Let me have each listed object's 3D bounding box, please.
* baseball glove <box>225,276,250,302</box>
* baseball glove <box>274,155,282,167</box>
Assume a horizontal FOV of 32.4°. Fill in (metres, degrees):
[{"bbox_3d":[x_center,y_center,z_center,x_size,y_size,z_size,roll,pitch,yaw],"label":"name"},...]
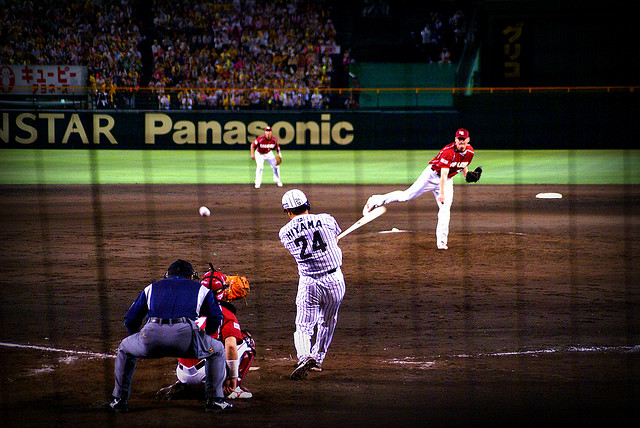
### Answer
[{"bbox_3d":[-2.381,2.204,31.288,0.861,0.625,0.304,1,-31,-6],"label":"baseball glove"},{"bbox_3d":[-1.782,-2.303,46.710,0.382,0.404,0.166,-1,4,9],"label":"baseball glove"}]
